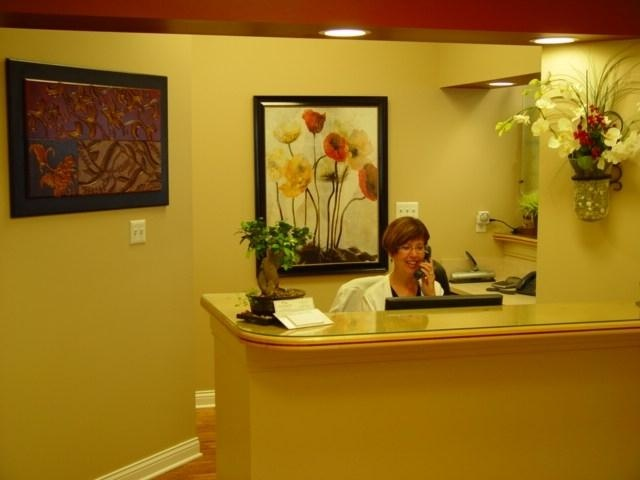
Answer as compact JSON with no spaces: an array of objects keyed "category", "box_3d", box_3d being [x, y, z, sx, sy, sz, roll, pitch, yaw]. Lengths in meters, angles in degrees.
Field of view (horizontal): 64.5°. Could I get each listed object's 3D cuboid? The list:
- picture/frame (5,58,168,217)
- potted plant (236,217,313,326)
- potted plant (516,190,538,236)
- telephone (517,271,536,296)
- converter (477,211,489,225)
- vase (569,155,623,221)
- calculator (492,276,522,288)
[{"category":"picture/frame","box_3d":[-1.394,-0.600,2.951,0.054,0.863,0.932,4,6,44]},{"category":"potted plant","box_3d":[-0.201,0.117,2.215,0.309,0.415,0.305,-2,8,-6]},{"category":"potted plant","box_3d":[1.812,-0.233,4.427,0.136,0.378,0.344,2,8,19]},{"category":"telephone","box_3d":[1.627,0.331,3.981,0.104,0.134,0.297,4,13,31]},{"category":"converter","box_3d":[1.443,-0.200,4.551,0.103,0.117,0.091,-1,7,-9]},{"category":"vase","box_3d":[1.497,-0.282,2.737,0.297,0.355,0.151,-2,7,-8]},{"category":"calculator","box_3d":[1.582,0.356,4.249,0.235,0.069,0.113,-1,0,-31]}]
